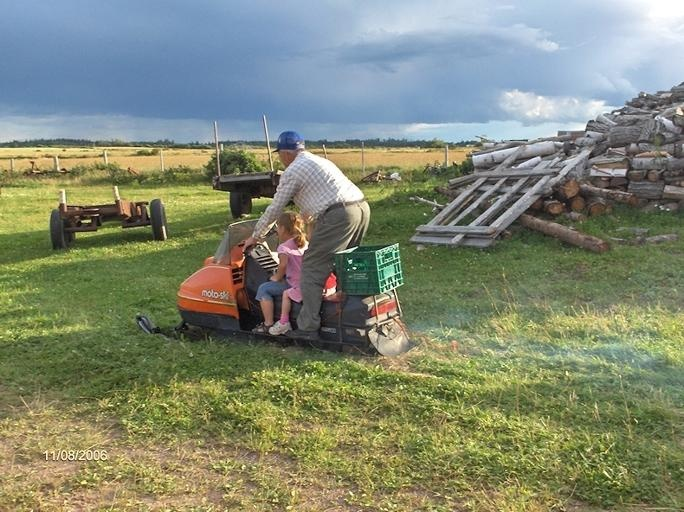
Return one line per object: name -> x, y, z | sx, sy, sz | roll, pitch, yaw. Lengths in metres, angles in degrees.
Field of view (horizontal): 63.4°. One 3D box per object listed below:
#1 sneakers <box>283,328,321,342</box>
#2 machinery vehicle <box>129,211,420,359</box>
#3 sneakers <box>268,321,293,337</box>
sneakers -> -0.449, 0.971, 6.914 | 0.458, 0.149, 0.152 | 4, 7, 13
machinery vehicle -> -0.938, 0.362, 7.576 | 4.259, 1.502, 1.404 | 3, 15, 26
sneakers -> -0.726, 0.910, 7.019 | 0.328, 0.132, 0.134 | -3, 3, 5
